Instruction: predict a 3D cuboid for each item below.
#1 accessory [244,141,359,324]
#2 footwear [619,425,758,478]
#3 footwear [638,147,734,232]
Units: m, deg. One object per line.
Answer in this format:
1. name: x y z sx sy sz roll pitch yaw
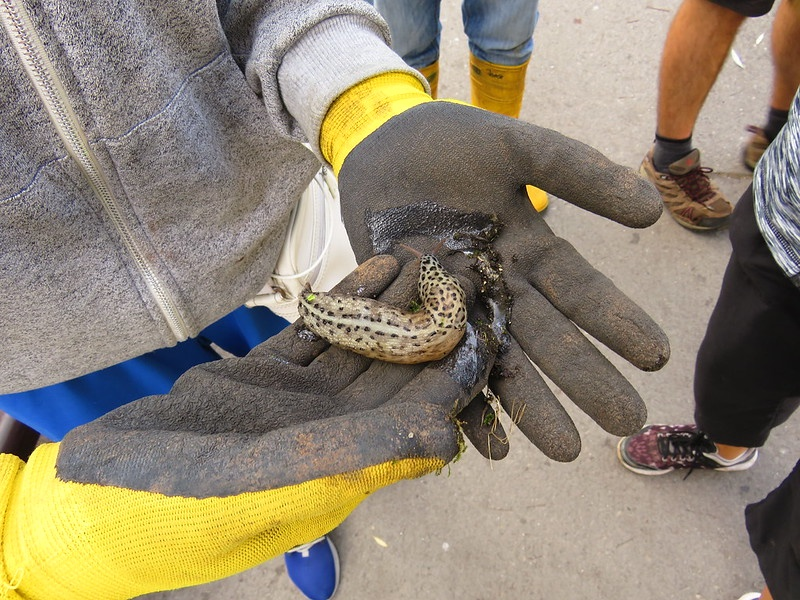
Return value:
1. accessory: -0.458 -0.282 3.571 0.772 0.231 0.603 -31 57 7
2. footwear: 1.671 0.917 4.069 0.886 0.381 0.351 -1 84 10
3. footwear: 2.038 -0.828 4.734 0.352 0.413 0.816 -17 43 -18
